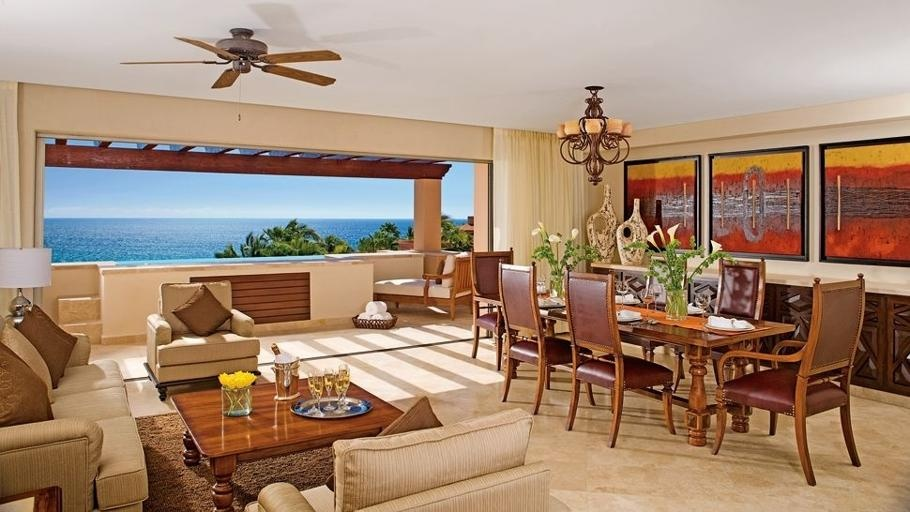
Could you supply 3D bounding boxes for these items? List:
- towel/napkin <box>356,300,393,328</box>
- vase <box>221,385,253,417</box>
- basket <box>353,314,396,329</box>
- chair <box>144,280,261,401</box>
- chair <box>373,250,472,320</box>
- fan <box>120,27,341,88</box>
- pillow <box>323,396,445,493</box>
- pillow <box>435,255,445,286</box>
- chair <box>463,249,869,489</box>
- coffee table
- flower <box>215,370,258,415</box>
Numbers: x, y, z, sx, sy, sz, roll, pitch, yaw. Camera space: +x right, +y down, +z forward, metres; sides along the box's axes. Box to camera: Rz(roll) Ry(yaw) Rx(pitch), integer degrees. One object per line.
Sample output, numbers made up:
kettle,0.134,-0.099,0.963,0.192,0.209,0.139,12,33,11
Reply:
towel/napkin,-1.337,0.986,9.246,0.552,0.291,0.512,0,0,28
vase,-1.914,1.257,4.802,0.296,0.256,0.270,4,-7,-25
basket,-1.399,1.115,9.272,0.718,0.215,0.268,2,12,6
chair,-3.219,0.952,6.919,1.640,1.397,1.437,1,-4,-34
chair,-0.520,0.490,10.639,1.816,0.998,1.270,-2,-2,28
fan,-1.777,-1.856,5.138,1.217,0.484,0.824,-1,12,-9
pillow,-0.457,1.217,3.902,0.700,0.702,0.235,-24,20,-30
pillow,-0.281,0.280,10.554,0.223,0.481,0.570,4,10,2
chair,2.240,1.172,5.540,0.923,1.098,2.482,-2,1,-40
coffee table,-1.730,1.349,4.659,1.300,0.489,1.232,2,-2,-35
flower,-1.912,1.210,4.897,0.425,0.365,0.373,1,-7,-10
